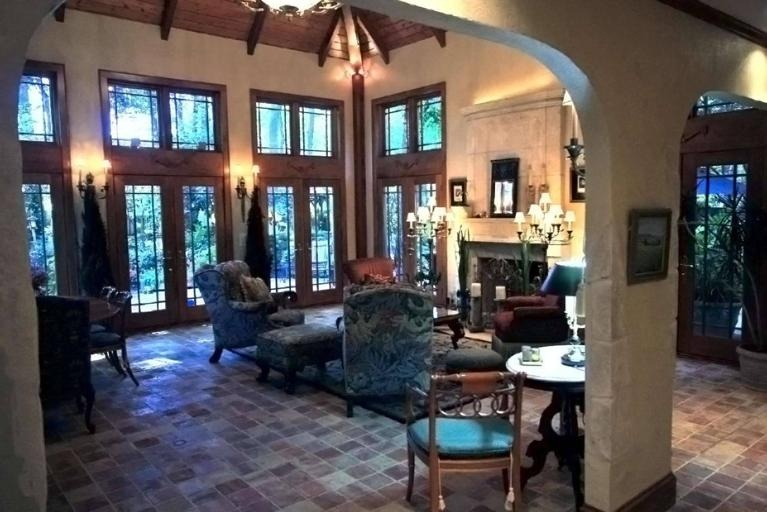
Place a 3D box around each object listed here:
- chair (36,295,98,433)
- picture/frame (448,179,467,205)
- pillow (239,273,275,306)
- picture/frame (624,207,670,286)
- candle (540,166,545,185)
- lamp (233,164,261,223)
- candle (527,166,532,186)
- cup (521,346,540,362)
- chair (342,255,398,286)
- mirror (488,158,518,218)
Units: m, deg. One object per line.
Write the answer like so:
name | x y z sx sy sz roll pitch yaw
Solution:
chair | -3.044 1.065 5.425 0.503 1.385 0.286 -9 15 -30
picture/frame | 1.279 -1.102 9.611 0.066 0.640 0.480 -2 3 -41
pillow | -1.750 0.438 7.625 0.118 0.376 0.409 -31 -8 17
picture/frame | 1.951 -0.089 4.191 0.586 0.575 0.061 -6 8 -39
candle | 2.375 -1.208 8.352 0.084 0.316 0.099 5 14 26
lamp | -2.404 -1.130 10.091 0.510 1.023 0.266 -9 15 -30
candle | 2.213 -1.216 8.482 0.068 0.298 0.183 1 13 12
cup | 1.244 0.834 4.800 0.168 0.152 0.113 0 3 1
chair | -0.172 0.185 9.379 0.548 0.596 0.585 -6 -2 39
mirror | 1.898 -1.078 8.842 0.201 0.919 0.529 -11 16 -35
